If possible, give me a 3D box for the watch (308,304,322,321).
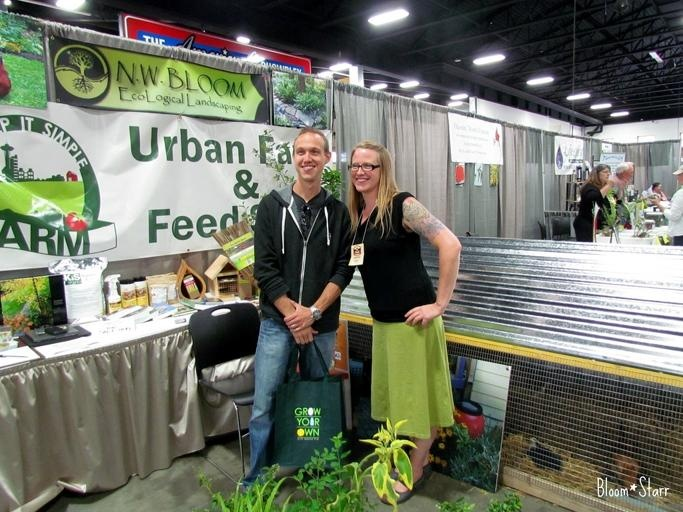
[{"bbox_3d":[-0.134,0.296,2.134,0.051,0.080,0.069,-1,3,-21],"label":"watch"}]

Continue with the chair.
[{"bbox_3d":[-0.565,0.768,2.492,0.515,0.904,0.551,-5,5,-33],"label":"chair"}]

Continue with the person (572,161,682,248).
[{"bbox_3d":[2.965,-0.617,4.769,0.520,0.873,1.431,5,11,39],"label":"person"}]

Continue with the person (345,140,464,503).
[{"bbox_3d":[0.315,0.171,2.151,0.541,1.511,0.276,0,8,5],"label":"person"}]

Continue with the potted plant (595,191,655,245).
[{"bbox_3d":[3.308,-0.435,4.883,0.707,0.749,0.396,10,19,43],"label":"potted plant"}]
